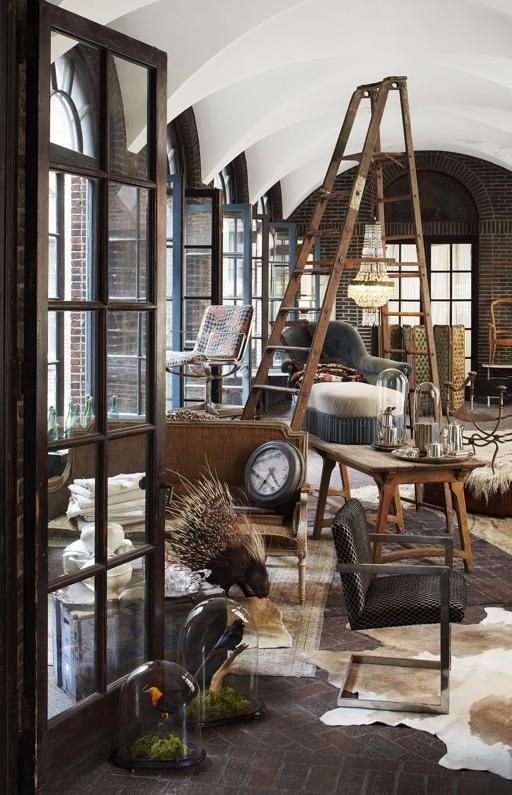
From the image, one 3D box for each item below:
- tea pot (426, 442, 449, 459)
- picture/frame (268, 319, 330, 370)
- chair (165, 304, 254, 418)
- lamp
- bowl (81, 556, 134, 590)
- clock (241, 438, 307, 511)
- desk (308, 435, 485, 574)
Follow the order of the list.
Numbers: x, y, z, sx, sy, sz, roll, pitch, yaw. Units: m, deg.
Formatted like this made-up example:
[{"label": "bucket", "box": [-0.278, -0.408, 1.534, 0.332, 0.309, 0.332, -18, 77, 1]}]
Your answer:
[{"label": "tea pot", "box": [1.028, 0.300, 3.696, 0.109, 0.099, 0.089, 2, 1, 5]}, {"label": "picture/frame", "box": [0.486, -0.632, 7.677, 0.545, 0.753, 0.618, -1, 3, 14]}, {"label": "chair", "box": [-0.498, -0.361, 5.945, 0.681, 1.073, 0.650, 1, 4, -44]}, {"label": "lamp", "box": [0.946, -1.043, 5.350, 0.326, 0.852, 0.326, -4, 7, -32]}, {"label": "bowl", "box": [-0.424, 0.478, 1.888, 0.093, 0.082, 0.106, 1, -3, 2]}, {"label": "clock", "box": [0.104, 0.404, 3.387, 0.285, 0.362, 0.085, -1, -19, 25]}, {"label": "desk", "box": [0.939, 0.603, 4.185, 0.546, 0.725, 1.347, -6, 8, 2]}]
